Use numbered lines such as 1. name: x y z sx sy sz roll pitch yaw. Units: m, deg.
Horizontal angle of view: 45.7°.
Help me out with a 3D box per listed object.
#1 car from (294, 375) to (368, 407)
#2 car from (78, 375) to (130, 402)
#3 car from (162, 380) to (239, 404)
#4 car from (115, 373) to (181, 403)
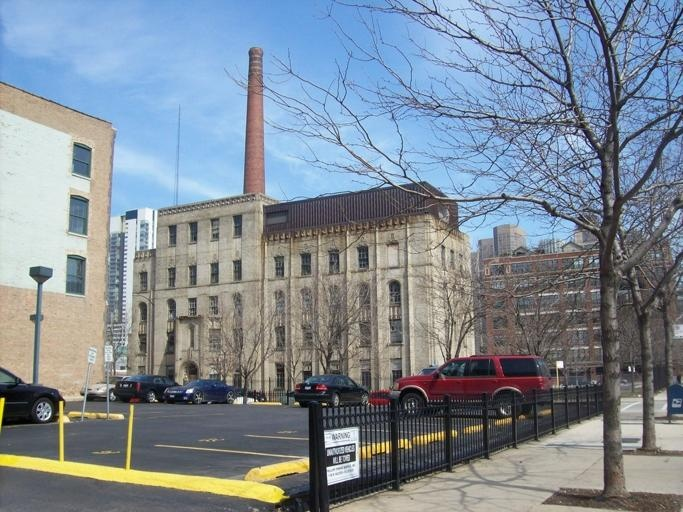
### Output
1. car: -0.603 6.450 39.118 2.899 1.623 3.162 -4 -12 9
2. car: -12.651 7.046 43.289 1.072 0.787 2.448 -8 -17 25
3. car: -7.540 7.245 43.274 1.540 1.373 3.814 -11 -15 36
4. car: -10.272 7.136 43.874 1.382 0.923 3.030 -3 -6 32
